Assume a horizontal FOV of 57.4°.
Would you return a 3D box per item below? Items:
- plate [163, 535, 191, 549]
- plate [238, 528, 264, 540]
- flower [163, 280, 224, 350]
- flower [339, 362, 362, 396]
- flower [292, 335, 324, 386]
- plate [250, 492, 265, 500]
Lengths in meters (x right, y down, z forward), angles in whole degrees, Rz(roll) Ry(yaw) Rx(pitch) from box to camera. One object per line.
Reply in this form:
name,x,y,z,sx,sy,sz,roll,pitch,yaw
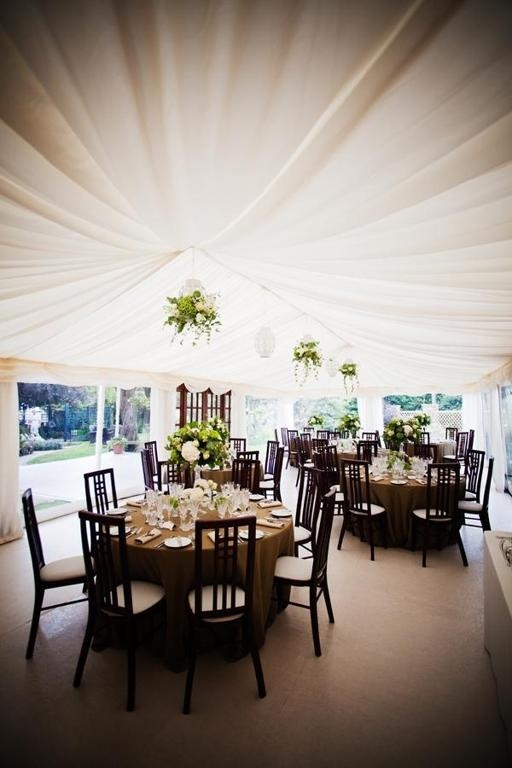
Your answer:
plate,-0.545,1.081,3.247,0.193,0.035,0.263,0,1,-10
plate,-0.030,1.080,3.402,0.180,0.040,0.296,0,1,-1
flower,-0.564,-0.580,3.977,0.604,0.689,0.603,0,-2,-15
flower,2.115,-0.135,10.216,0.375,0.647,0.336,4,-18,-18
flower,0.911,-0.423,8.055,0.651,0.949,0.684,2,-4,2
plate,0.026,1.114,4.606,0.137,0.030,0.145,1,-3,-14
